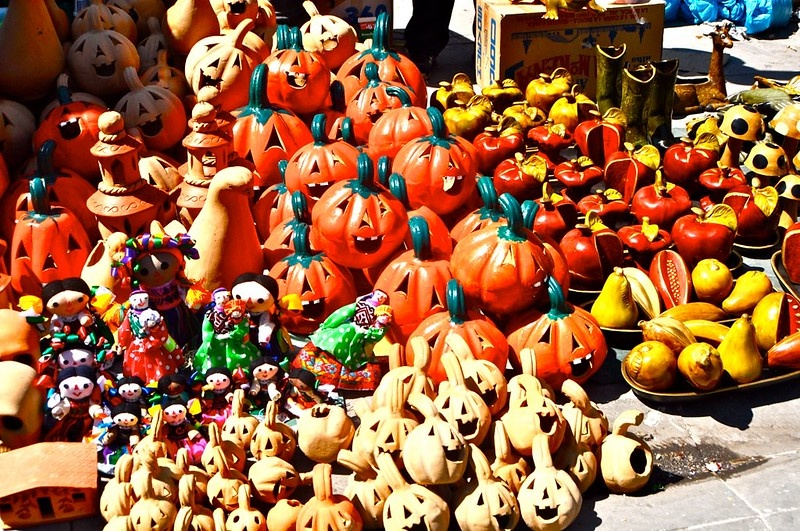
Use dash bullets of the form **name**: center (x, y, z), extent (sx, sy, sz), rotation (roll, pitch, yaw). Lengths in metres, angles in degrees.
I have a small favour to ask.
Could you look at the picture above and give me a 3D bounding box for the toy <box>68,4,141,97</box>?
- **toy**: center (-2.751, -2.091, 6.903), extent (0.653, 1.007, 0.702), rotation (-16, 17, -23)
